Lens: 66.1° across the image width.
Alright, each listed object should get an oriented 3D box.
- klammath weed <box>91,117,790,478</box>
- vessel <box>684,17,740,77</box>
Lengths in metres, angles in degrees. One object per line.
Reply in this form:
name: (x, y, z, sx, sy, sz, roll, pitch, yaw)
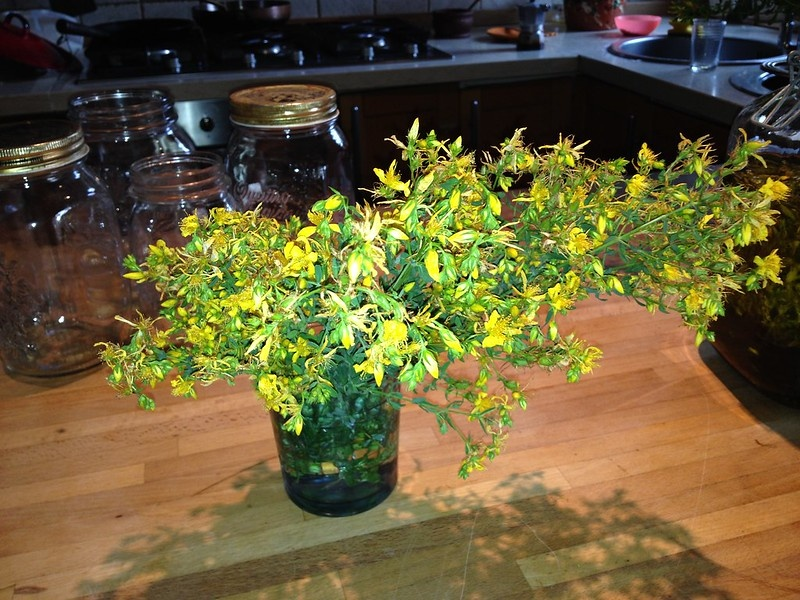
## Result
klammath weed: (0.154, -0.012, 0.775, 0.892, 0.282, 0.430, -8, 20, -9)
vessel: (0.952, -0.789, 1.903, 0.131, 0.155, 0.078, -29, 42, -32)
